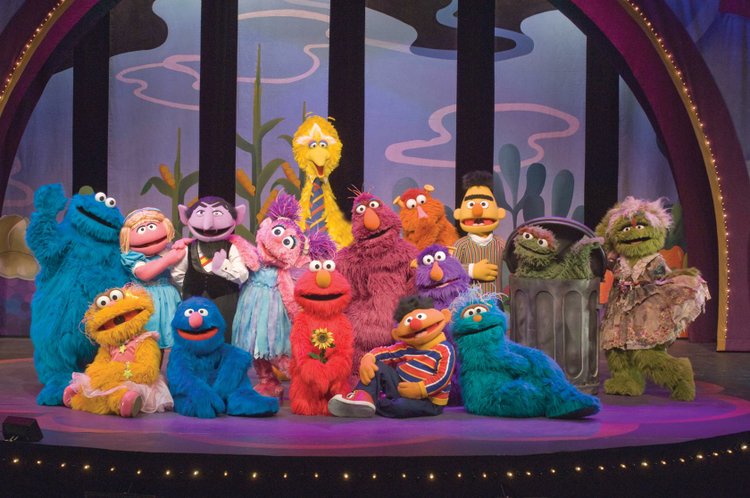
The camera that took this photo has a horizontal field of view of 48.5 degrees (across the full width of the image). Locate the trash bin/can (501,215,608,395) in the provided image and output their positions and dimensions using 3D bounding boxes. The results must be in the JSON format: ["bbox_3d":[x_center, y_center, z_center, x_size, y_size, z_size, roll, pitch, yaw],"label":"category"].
[{"bbox_3d":[1.499,0.482,6.683,0.784,1.246,0.763,3,-4,-11],"label":"trash bin/can"}]
